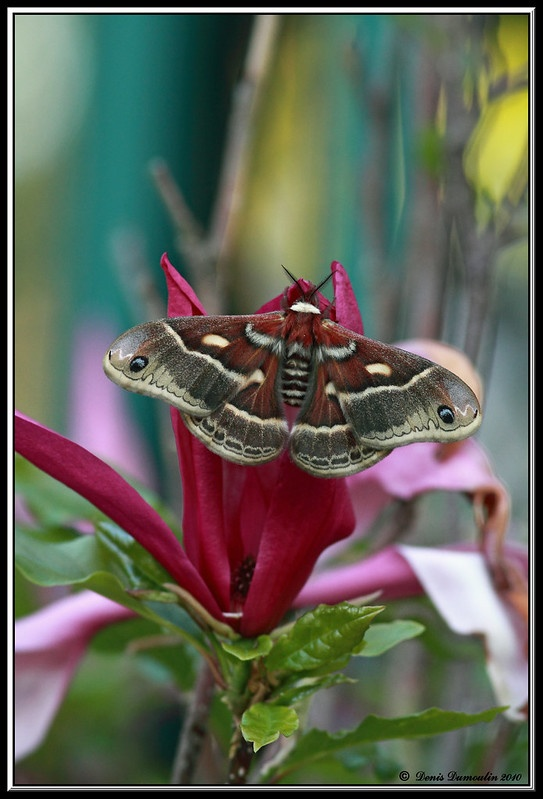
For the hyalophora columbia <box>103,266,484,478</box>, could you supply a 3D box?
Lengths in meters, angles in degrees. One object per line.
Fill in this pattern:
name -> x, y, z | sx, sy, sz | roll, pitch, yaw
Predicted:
hyalophora columbia -> 0.020, -0.011, 0.459 | 0.219, 0.126, 0.048 | 8, 23, -3
